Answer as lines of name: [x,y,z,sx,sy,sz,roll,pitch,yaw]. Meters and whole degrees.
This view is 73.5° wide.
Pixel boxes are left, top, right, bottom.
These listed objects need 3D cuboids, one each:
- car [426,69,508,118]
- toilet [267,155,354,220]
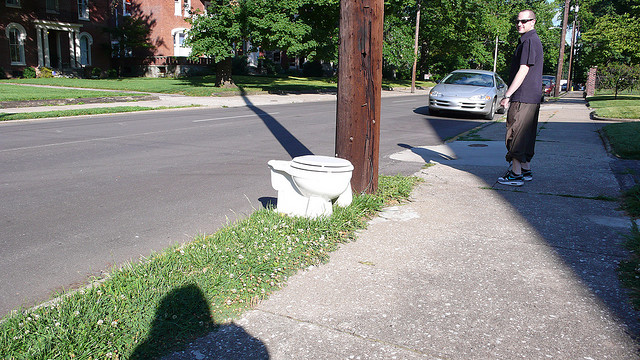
car: [6.963,-3.972,20.081,2.682,2.067,3.253,16,24,38]
toilet: [-0.123,0.047,6.880,1.173,0.784,0.916,5,11,26]
